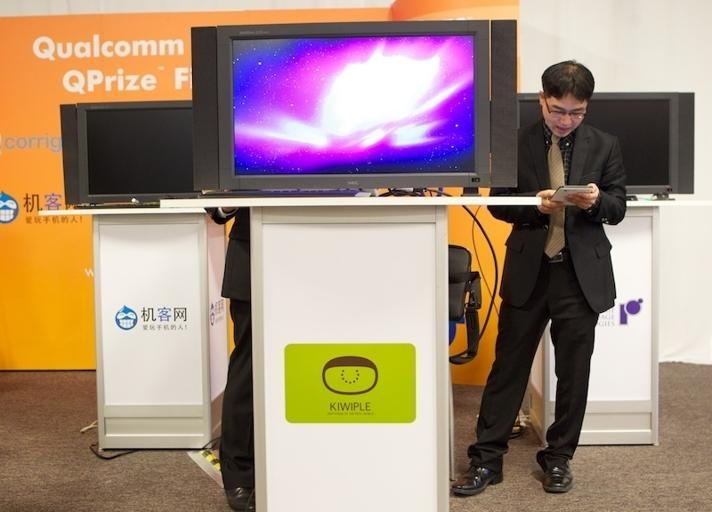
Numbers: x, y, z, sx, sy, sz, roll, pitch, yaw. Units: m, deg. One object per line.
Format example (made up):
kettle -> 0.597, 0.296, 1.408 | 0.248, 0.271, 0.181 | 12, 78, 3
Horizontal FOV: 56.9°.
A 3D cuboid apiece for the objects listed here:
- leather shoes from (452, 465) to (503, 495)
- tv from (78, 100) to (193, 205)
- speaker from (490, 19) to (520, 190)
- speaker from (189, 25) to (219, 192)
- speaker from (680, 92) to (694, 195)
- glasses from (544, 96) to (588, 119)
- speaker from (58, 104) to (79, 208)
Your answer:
leather shoes -> 0.708, 1.240, 3.718 | 0.322, 0.173, 0.132 | 0, -4, -29
tv -> -1.380, -0.662, 4.088 | 0.645, 0.522, 0.069 | -1, 6, 2
speaker -> 0.682, -0.701, 3.003 | 0.117, 0.742, 0.129 | 0, 9, 11
speaker -> -0.696, -0.682, 3.031 | 0.145, 0.746, 0.126 | -2, 9, 0
speaker -> 2.125, -0.726, 4.191 | 0.089, 0.624, 0.111 | 1, 10, 18
glasses -> 1.095, -0.780, 3.418 | 0.214, 0.127, 0.113 | 1, 11, 19
speaker -> -1.781, -0.630, 4.093 | 0.115, 0.626, 0.075 | -5, 9, -17
